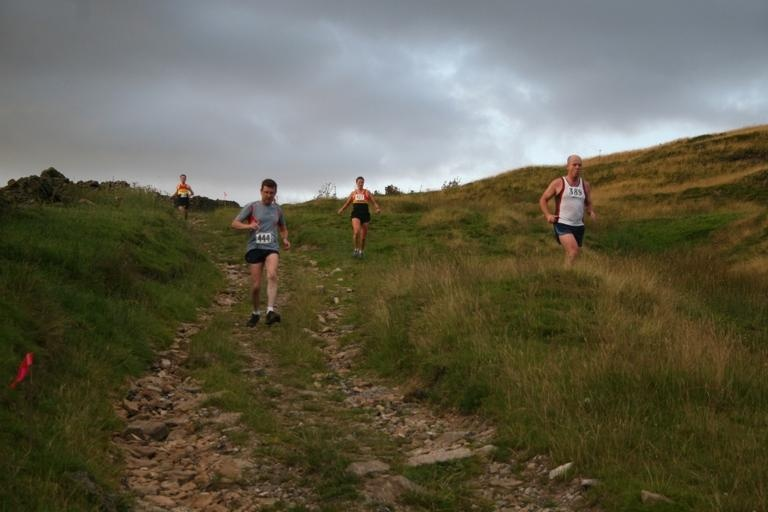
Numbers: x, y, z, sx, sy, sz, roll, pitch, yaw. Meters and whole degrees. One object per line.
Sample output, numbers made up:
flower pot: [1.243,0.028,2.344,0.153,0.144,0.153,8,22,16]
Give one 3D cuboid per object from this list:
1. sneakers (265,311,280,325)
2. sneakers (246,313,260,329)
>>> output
sneakers: [-2.341,1.298,12.708,0.255,0.143,0.338,2,-2,-29]
sneakers: [-2.755,1.377,12.879,0.189,0.340,0.139,19,-11,-1]
